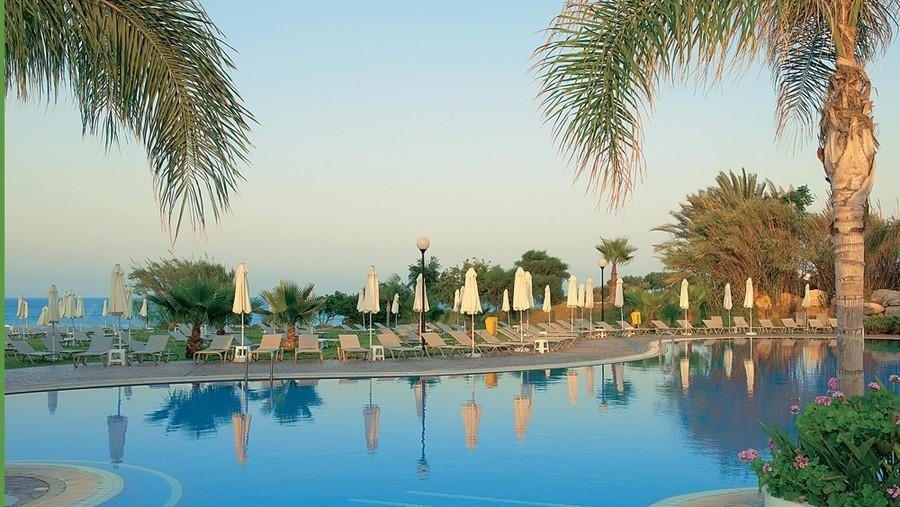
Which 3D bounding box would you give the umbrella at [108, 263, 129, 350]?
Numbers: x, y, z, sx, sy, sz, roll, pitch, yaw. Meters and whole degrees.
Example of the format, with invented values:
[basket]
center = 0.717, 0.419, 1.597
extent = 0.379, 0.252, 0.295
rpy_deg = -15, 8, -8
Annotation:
[umbrella]
center = -9.675, 1.544, 20.747
extent = 0.622, 2.394, 0.658
rpy_deg = 5, 8, 38
